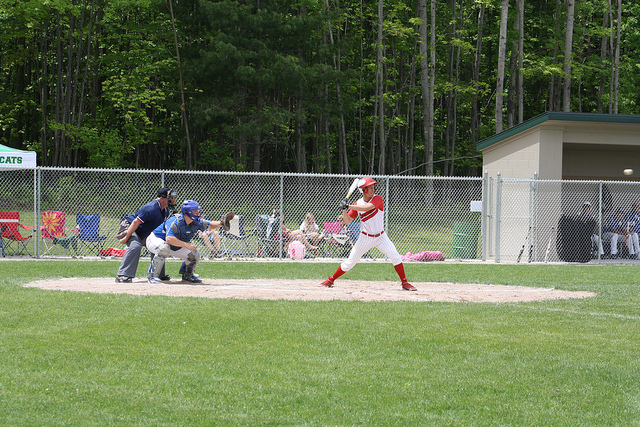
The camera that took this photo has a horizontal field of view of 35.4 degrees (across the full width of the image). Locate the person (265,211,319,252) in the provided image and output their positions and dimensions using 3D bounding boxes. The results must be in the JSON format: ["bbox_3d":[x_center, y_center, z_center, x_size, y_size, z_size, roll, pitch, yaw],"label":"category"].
[{"bbox_3d":[-1.099,0.811,39.367,2.039,1.399,0.778,3,-1,-9],"label":"person"}]

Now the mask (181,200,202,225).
[{"bbox_3d":[-4.166,-0.062,33.225,0.787,0.689,0.581,-3,9,-17],"label":"mask"}]

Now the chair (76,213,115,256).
[{"bbox_3d":[-9.084,0.909,39.817,1.145,1.623,2.510,3,-1,-13],"label":"chair"}]

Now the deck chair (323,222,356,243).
[{"bbox_3d":[0.810,0.732,40.224,1.215,1.078,0.816,2,-3,-26],"label":"deck chair"}]

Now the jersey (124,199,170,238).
[{"bbox_3d":[-5.674,0.177,33.645,0.928,1.476,1.358,38,16,12],"label":"jersey"}]
